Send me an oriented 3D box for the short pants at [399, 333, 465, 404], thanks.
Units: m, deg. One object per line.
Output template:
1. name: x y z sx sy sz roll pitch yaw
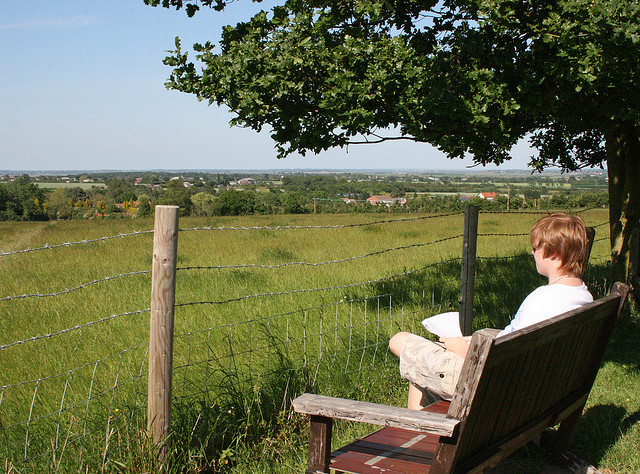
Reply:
1. short pants: 1.041 1.200 5.576 0.402 0.593 0.399 12 25 -18
